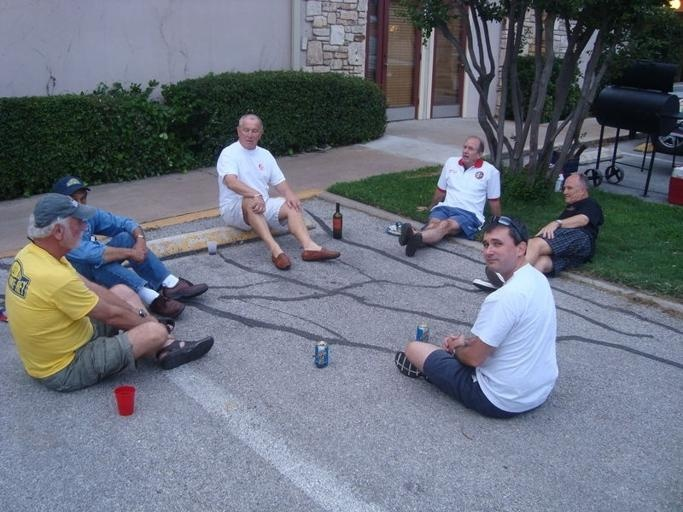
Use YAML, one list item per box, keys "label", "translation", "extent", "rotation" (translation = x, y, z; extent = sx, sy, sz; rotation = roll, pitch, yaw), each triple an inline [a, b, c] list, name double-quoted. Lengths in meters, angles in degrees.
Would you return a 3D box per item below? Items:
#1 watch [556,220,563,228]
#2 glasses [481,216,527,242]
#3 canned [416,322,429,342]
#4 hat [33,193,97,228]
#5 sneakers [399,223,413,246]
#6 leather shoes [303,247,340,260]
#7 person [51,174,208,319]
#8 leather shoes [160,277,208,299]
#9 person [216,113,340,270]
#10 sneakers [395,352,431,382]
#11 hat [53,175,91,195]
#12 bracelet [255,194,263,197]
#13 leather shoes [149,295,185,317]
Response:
- label: "watch"
  translation: [2.499, -0.361, 5.939]
  extent: [0.071, 0.109, 0.109]
  rotation: [7, 2, 21]
- label: "glasses"
  translation: [1.162, -0.193, 3.652]
  extent: [0.290, 0.159, 0.203]
  rotation: [4, 21, 11]
- label: "canned"
  translation: [0.718, 0.678, 4.596]
  extent: [0.113, 0.197, 0.103]
  rotation: [5, 17, 22]
- label: "hat"
  translation: [-1.983, -0.339, 3.717]
  extent: [0.348, 0.181, 0.229]
  rotation: [-5, 16, -30]
- label: "sneakers"
  translation: [0.778, -0.249, 6.151]
  extent: [0.104, 0.139, 0.299]
  rotation: [3, 31, 3]
- label: "leather shoes"
  translation: [-0.217, 0.000, 5.950]
  extent: [0.397, 0.140, 0.161]
  rotation: [-4, 3, 5]
- label: "person"
  translation: [-2.064, -0.126, 4.862]
  extent: [1.440, 1.144, 0.808]
  rotation: [9, 23, 19]
- label: "leather shoes"
  translation: [-1.489, 0.302, 5.110]
  extent: [0.470, 0.260, 0.178]
  rotation: [-5, 22, -4]
- label: "person"
  translation: [-0.867, -0.748, 5.950]
  extent: [0.790, 1.567, 1.181]
  rotation: [-12, 23, -29]
- label: "sneakers"
  translation: [0.575, 0.842, 4.163]
  extent: [0.242, 0.196, 0.094]
  rotation: [29, 66, 26]
- label: "hat"
  translation: [-2.448, -0.625, 4.732]
  extent: [0.314, 0.166, 0.230]
  rotation: [3, 9, 36]
- label: "bracelet"
  translation: [-0.930, -0.673, 5.866]
  extent: [0.065, 0.034, 0.067]
  rotation: [-3, 21, -7]
- label: "leather shoes"
  translation: [-1.586, 0.476, 4.758]
  extent: [0.331, 0.151, 0.157]
  rotation: [5, 29, 15]
